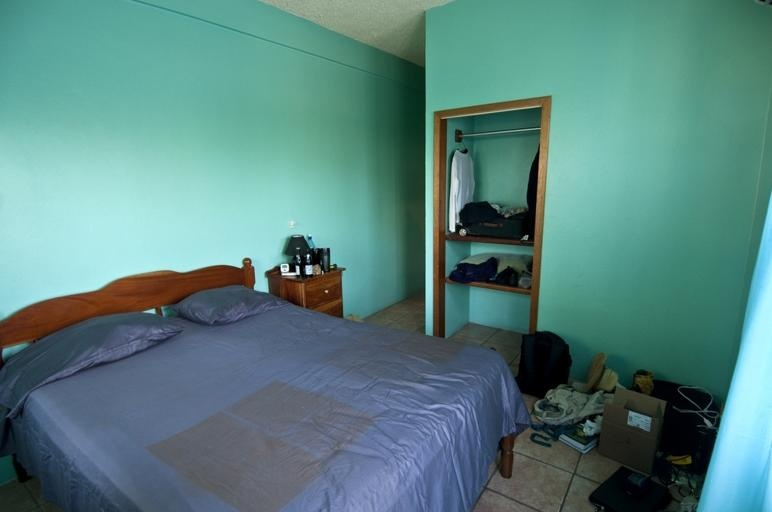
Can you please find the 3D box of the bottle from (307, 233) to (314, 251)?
[{"bbox_3d":[-0.777,-0.150,5.330,0.042,0.122,0.092,-1,16,28],"label":"bottle"}]

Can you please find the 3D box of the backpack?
[{"bbox_3d":[1.421,0.969,4.457,0.507,0.601,0.321,3,12,30],"label":"backpack"}]

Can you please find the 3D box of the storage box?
[{"bbox_3d":[1.867,1.333,3.777,0.408,0.581,0.309,16,28,40],"label":"storage box"}]
